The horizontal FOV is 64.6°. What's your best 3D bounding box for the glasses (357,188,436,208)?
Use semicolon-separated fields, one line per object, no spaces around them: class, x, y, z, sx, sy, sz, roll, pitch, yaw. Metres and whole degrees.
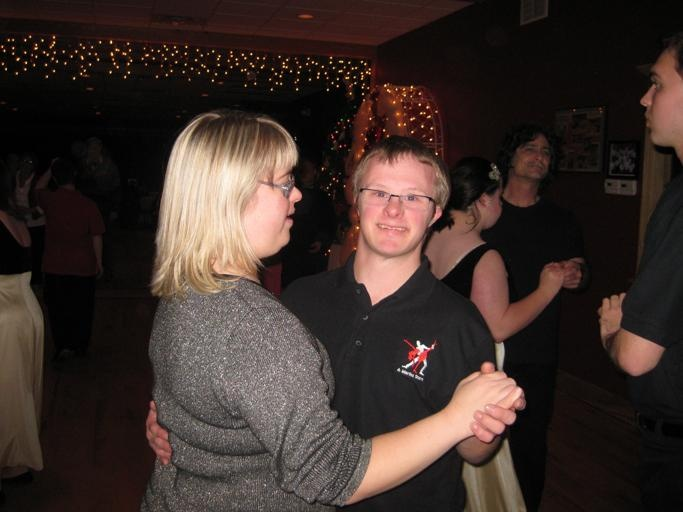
glasses;0.214;-0.212;1.987;0.263;0.067;0.070;2;12;4
